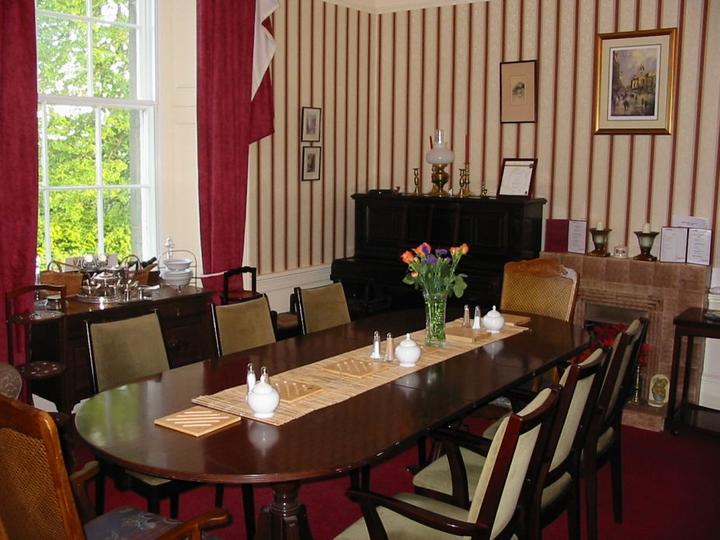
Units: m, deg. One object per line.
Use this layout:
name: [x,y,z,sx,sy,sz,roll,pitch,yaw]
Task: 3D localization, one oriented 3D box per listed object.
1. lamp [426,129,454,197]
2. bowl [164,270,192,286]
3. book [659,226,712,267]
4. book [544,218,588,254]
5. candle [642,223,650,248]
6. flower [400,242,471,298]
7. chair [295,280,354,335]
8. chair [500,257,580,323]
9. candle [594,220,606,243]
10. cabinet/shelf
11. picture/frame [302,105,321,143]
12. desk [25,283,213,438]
lamp: [0.841,-1.115,5.921,0.250,0.650,0.899,3,12,8]
bowl: [-1.540,0.065,4.874,0.149,0.100,0.157,0,-1,0]
book: [2.871,-0.226,5.013,0.348,0.364,0.086,4,6,25]
book: [2.047,-0.333,5.614,0.322,0.316,0.133,1,5,7]
candle: [2.604,-0.326,5.139,0.083,0.190,0.148,8,13,31]
flower: [0.461,-0.002,3.430,0.349,0.347,0.446,5,12,15]
chair: [-0.286,0.238,4.262,0.336,0.622,0.337,-6,7,-38]
chair: [1.465,0.137,4.837,0.442,0.832,0.554,7,3,31]
candle: [2.326,-0.385,5.492,0.078,0.181,0.307,6,12,22]
cabinet/shelf: [0.788,-0.214,6.180,1.704,1.310,0.644,5,14,6]
picture/frame: [-0.530,-1.592,6.124,0.029,0.440,0.361,6,12,32]
desk: [-1.848,0.611,4.556,0.708,0.947,1.391,2,9,40]
